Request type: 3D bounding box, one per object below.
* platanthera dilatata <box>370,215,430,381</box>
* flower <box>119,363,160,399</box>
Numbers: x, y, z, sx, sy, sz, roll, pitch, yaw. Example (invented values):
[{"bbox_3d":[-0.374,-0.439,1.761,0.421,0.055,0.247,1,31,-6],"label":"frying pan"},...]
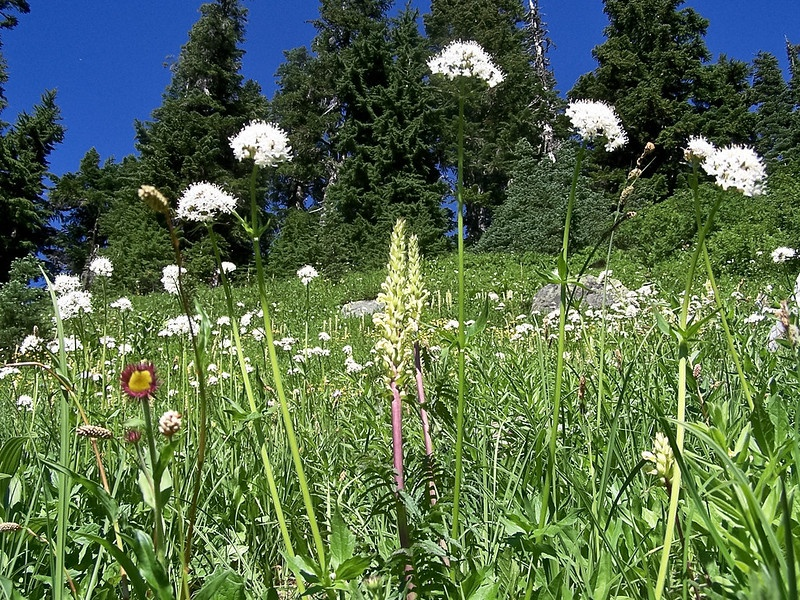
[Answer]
[{"bbox_3d":[0.001,-0.004,1.787,0.165,0.490,0.293,-2,0,2],"label":"platanthera dilatata"},{"bbox_3d":[-0.646,0.190,1.399,0.103,0.042,0.104,14,27,38],"label":"flower"}]
